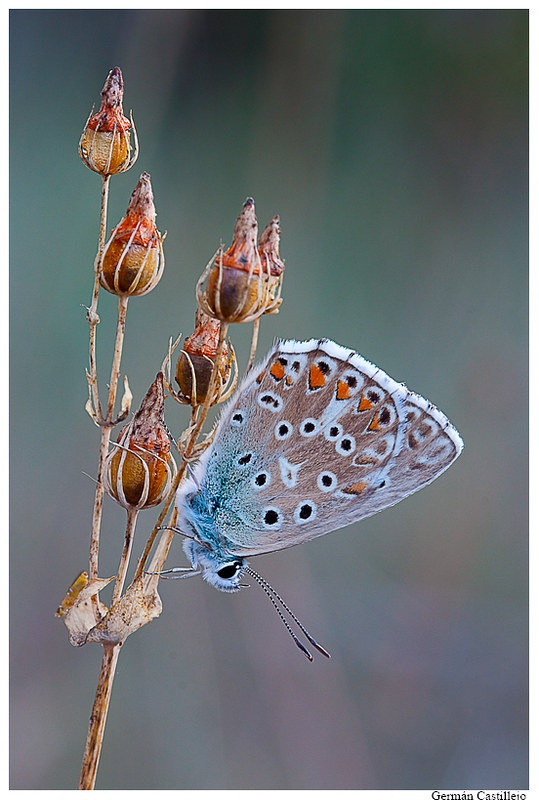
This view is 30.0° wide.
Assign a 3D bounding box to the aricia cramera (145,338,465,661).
[{"bbox_3d":[0.048,0.086,1.161,0.333,0.306,0.078,7,14,-25],"label":"aricia cramera"}]
